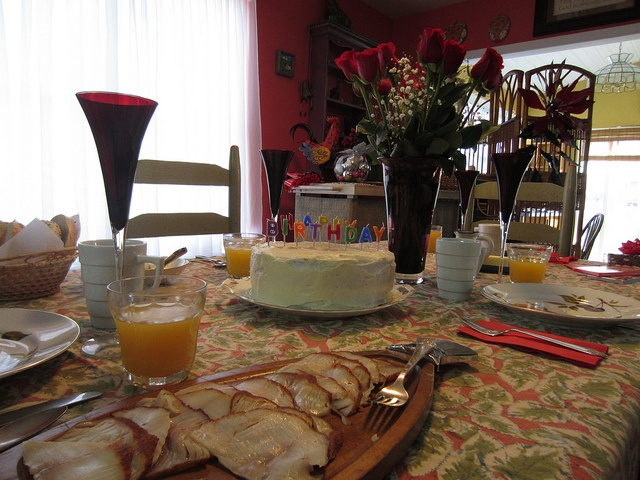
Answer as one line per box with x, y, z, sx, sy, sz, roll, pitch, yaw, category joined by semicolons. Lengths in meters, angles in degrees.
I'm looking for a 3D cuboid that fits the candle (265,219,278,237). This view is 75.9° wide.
-0.140;-0.036;1.225;0.030;0.048;0.100;1;7;-5;candle

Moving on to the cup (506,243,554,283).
0.588;0.063;1.157;0.110;0.100;0.117;1;-1;0;cup

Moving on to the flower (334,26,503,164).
0.333;-0.411;1.322;0.442;0.494;0.469;-1;7;20;flower

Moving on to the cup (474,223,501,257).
0.592;-0.005;1.524;0.115;0.138;0.135;-1;3;0;cup

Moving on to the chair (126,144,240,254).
-0.658;-0.255;2.081;0.473;0.427;0.744;0;7;-14;chair

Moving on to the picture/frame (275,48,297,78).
-0.358;-1.845;4.301;0.081;0.244;0.266;6;8;31;picture/frame

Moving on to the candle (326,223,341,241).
0.037;-0.023;1.091;0.046;0.051;0.007;3;12;10;candle

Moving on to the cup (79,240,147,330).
-0.387;0.082;0.814;0.184;0.166;0.123;5;6;30;cup

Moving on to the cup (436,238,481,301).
0.350;0.076;1.047;0.156;0.155;0.128;1;2;3;cup

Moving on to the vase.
0.277;-0.057;1.258;0.245;0.352;0.236;1;5;-38;vase

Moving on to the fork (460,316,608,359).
0.424;0.192;0.798;0.197;0.022;0.022;13;13;30;fork

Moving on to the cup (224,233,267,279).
-0.205;0.042;1.182;0.114;0.108;0.125;2;1;0;cup

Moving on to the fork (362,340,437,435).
0.112;0.192;0.599;0.041;0.020;0.236;0;12;25;fork

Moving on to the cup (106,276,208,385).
-0.252;0.136;0.652;0.119;0.149;0.117;2;7;0;cup
